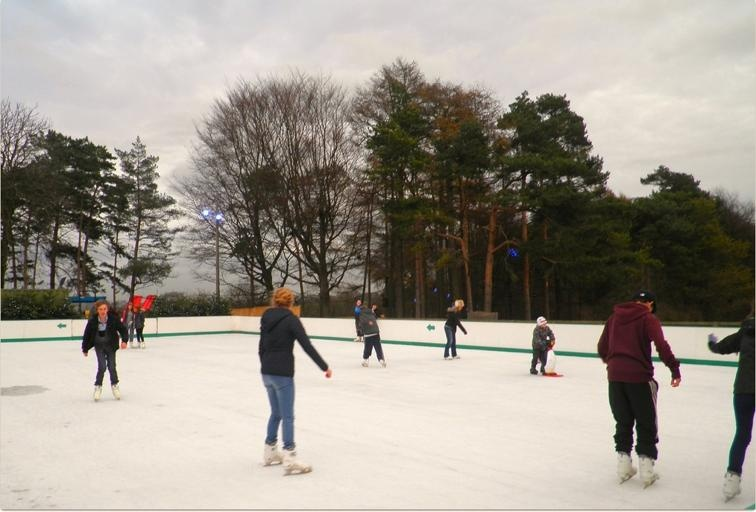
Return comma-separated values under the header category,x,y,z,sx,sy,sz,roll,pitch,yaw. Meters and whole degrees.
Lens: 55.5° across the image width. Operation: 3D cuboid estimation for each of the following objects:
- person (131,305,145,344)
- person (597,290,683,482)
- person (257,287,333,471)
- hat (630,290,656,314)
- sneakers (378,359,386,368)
category,x,y,z,sx,sy,sz,roll,pitch,yaw
person,-10.790,3.177,32.187,0.499,1.744,1.015,0,-4,-19
person,4.391,2.362,12.296,1.153,3.107,0.385,-2,-4,18
person,-1.630,2.218,12.874,0.982,3.271,1.116,0,-4,-10
hat,4.749,0.808,12.675,0.469,0.434,0.359,0,5,-26
sneakers,0.090,3.490,23.226,0.216,0.147,0.602,-2,-8,-7
